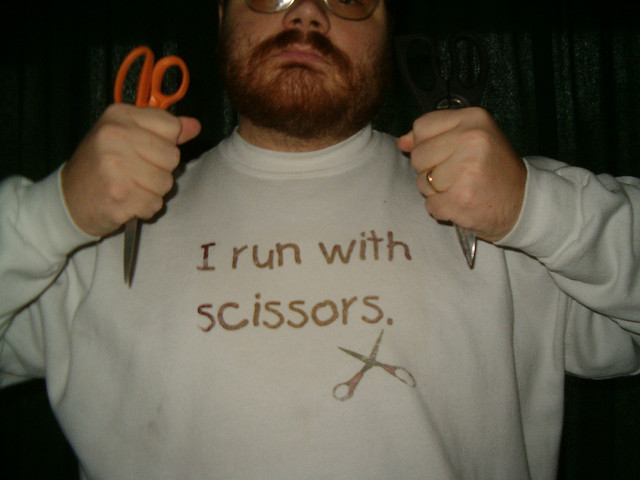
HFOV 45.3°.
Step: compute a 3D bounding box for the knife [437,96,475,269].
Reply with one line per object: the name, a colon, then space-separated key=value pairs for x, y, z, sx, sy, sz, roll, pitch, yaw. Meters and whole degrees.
knife: x=0.347 y=-0.144 z=1.899 sx=0.085 sy=0.043 sz=0.408 roll=-2 pitch=-74 yaw=17
